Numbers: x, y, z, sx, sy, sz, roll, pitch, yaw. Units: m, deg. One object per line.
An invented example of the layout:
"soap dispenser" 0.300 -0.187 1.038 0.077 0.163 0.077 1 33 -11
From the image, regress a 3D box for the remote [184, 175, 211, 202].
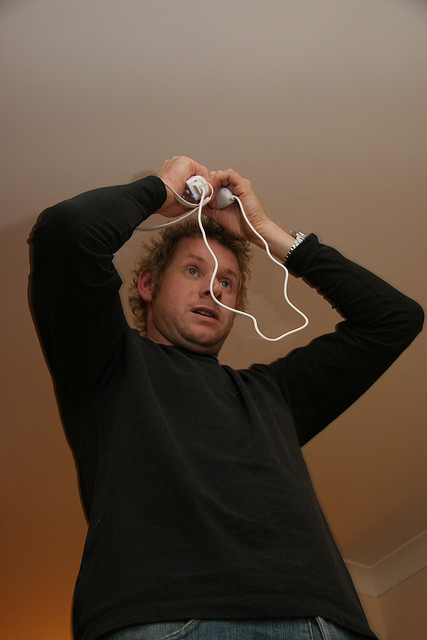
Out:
"remote" -0.040 -0.338 1.615 0.055 0.068 0.028 -7 -19 -26
